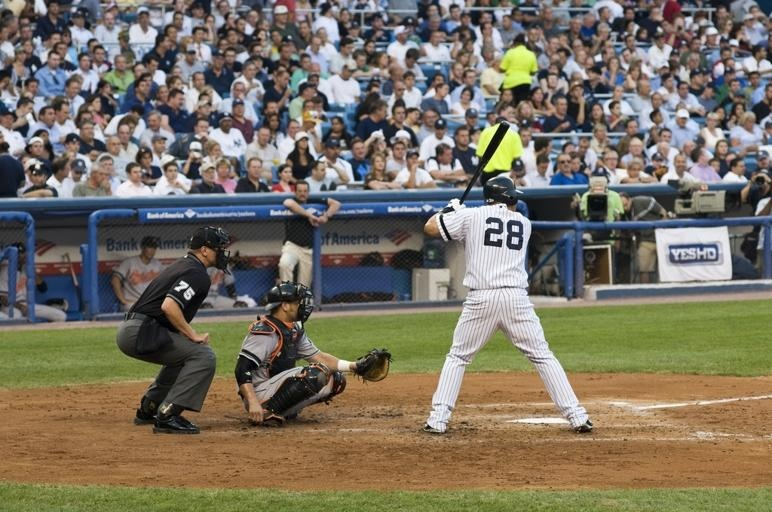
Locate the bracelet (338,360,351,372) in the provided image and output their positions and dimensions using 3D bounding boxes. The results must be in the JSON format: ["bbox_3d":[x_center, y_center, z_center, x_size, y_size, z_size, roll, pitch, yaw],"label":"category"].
[{"bbox_3d":[-0.596,1.572,23.575,0.171,0.110,0.167,-1,4,-38],"label":"bracelet"}]

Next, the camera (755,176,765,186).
[{"bbox_3d":[7.151,-1.411,31.605,0.216,0.195,0.113,4,20,18],"label":"camera"}]

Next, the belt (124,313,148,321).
[{"bbox_3d":[-3.462,0.862,23.038,0.154,0.036,0.148,20,-26,-37],"label":"belt"}]

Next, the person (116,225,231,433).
[{"bbox_3d":[-2.929,1.050,23.115,1.474,2.847,0.598,0,-2,-2],"label":"person"}]

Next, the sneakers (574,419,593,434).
[{"bbox_3d":[2.778,2.366,22.962,0.360,0.200,0.168,1,-3,-30],"label":"sneakers"}]

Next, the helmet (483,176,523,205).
[{"bbox_3d":[1.621,-0.889,23.201,0.476,0.339,0.351,17,-9,-20],"label":"helmet"}]

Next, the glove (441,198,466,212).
[{"bbox_3d":[0.944,-0.679,23.143,0.272,0.105,0.194,-9,12,-8],"label":"glove"}]

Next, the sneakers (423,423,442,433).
[{"bbox_3d":[0.663,2.400,23.021,0.276,0.112,0.112,4,-1,-2],"label":"sneakers"}]

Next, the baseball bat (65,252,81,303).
[{"bbox_3d":[-5.539,0.438,29.289,0.116,0.919,0.107,-22,-7,-12],"label":"baseball bat"}]

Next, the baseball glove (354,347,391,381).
[{"bbox_3d":[-0.152,1.588,23.604,0.445,0.590,0.285,-8,47,-44],"label":"baseball glove"}]
